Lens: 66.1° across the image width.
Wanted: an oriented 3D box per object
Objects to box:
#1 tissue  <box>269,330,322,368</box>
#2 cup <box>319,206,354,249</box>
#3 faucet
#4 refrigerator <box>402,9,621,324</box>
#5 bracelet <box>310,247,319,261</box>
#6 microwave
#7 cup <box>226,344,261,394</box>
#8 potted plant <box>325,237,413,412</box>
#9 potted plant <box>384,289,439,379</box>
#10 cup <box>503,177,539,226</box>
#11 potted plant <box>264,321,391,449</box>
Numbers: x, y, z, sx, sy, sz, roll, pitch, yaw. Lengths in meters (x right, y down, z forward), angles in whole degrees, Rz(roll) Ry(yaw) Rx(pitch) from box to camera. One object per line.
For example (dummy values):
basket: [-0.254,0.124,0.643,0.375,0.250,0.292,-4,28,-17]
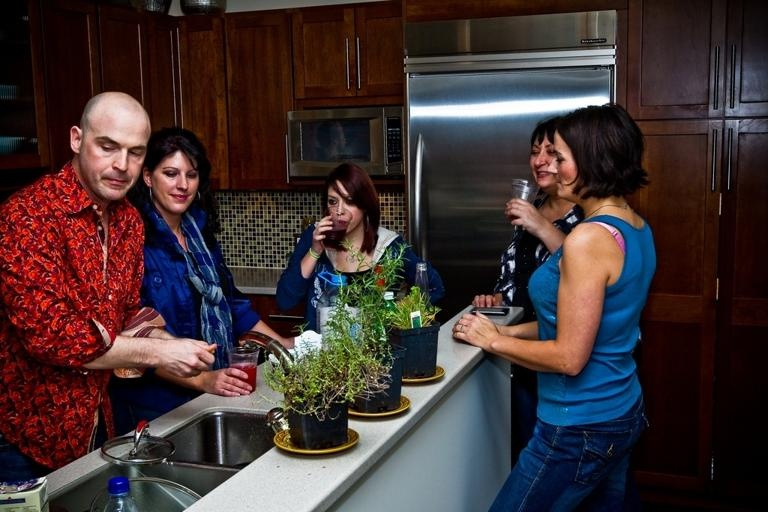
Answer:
tissue : [-0.222,0.261,1.706,0.118,0.036,0.121,-2,41,42]
cup: [-0.242,-0.137,2.952,0.140,0.155,0.145,16,-20,6]
faucet: [-0.734,0.566,1.753,0.202,0.148,0.142,4,12,36]
refrigerator: [0.630,-0.638,4.008,1.216,2.084,0.889,-7,40,-6]
bracelet: [-0.358,-0.009,3.055,0.050,0.073,0.084,-6,10,-17]
microwave: [-0.275,-0.747,4.171,0.807,0.492,0.493,-2,3,-6]
cup: [-0.483,0.390,2.077,0.149,0.170,0.145,-2,-1,0]
potted plant: [-0.007,0.233,1.824,0.157,0.347,0.161,-14,-22,6]
potted plant: [0.074,0.253,2.015,0.219,0.307,0.218,7,-9,-13]
cup: [0.629,-0.295,2.725,0.113,0.092,0.105,10,-3,0]
potted plant: [-0.162,0.314,1.702,0.327,0.348,0.301,-4,9,-23]
